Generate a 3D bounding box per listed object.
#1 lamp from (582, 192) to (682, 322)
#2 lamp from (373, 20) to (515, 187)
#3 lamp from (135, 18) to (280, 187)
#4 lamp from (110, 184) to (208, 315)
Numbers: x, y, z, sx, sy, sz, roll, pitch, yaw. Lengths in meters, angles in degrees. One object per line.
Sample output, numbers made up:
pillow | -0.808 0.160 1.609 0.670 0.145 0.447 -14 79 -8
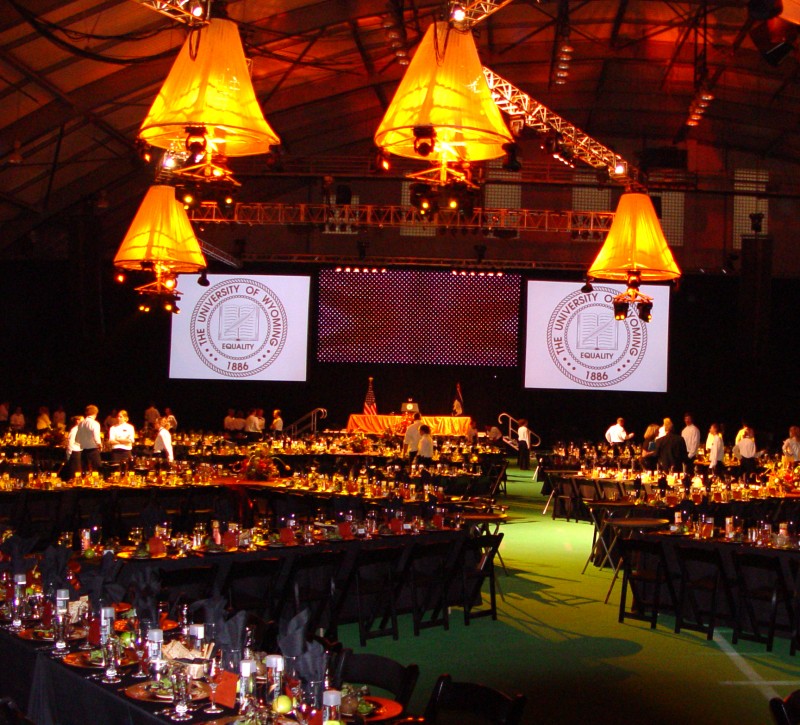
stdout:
lamp | 1.701 -0.779 8.287 0.741 0.818 0.726 1 -4 24
lamp | 0.235 -1.282 5.921 0.897 0.828 0.807 2 -6 1
lamp | -0.974 -1.361 5.904 0.692 0.701 0.670 4 -17 -13
lamp | -1.824 -0.892 8.725 0.782 0.853 0.724 3 3 22
